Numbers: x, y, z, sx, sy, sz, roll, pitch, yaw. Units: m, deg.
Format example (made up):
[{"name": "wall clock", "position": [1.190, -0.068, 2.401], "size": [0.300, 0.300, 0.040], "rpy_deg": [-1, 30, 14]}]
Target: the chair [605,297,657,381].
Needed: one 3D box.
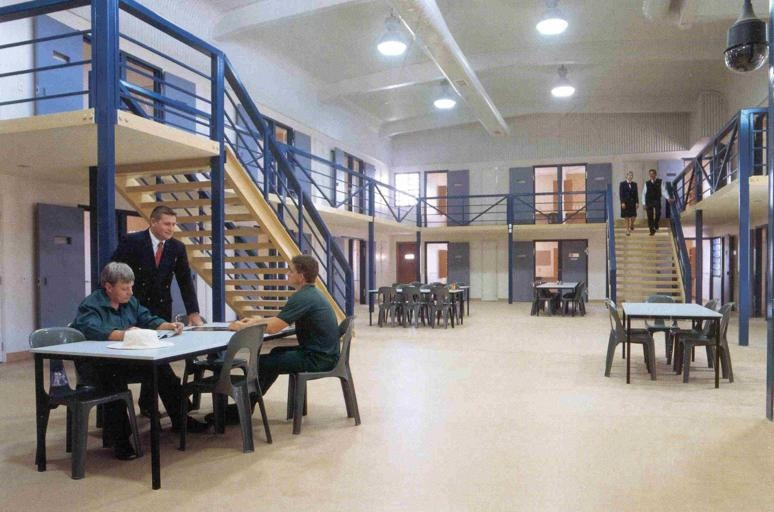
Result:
[{"name": "chair", "position": [3.660, 1.220, 10.449], "size": [0.830, 1.052, 0.729], "rpy_deg": [3, 9, 19]}]

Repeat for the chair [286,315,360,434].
[{"name": "chair", "position": [-0.817, 1.496, 8.853], "size": [0.980, 1.249, 0.868], "rpy_deg": [-5, -5, -18]}]

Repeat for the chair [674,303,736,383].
[{"name": "chair", "position": [4.759, 1.249, 10.395], "size": [0.754, 1.095, 0.840], "rpy_deg": [-4, 1, 17]}]

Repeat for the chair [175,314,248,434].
[{"name": "chair", "position": [-2.064, 1.538, 8.365], "size": [0.972, 1.302, 0.856], "rpy_deg": [6, 13, 16]}]

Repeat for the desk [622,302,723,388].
[{"name": "desk", "position": [4.177, 1.261, 10.192], "size": [1.366, 1.039, 1.067], "rpy_deg": [3, 14, 12]}]

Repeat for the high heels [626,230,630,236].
[{"name": "high heels", "position": [5.857, -0.567, 16.813], "size": [0.120, 0.135, 0.358], "rpy_deg": [-2, -6, 14]}]

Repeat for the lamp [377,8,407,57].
[{"name": "lamp", "position": [0.088, -4.291, 13.189], "size": [0.449, 0.757, 0.613], "rpy_deg": [4, 15, 17]}]

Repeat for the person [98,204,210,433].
[{"name": "person", "position": [-2.922, 0.681, 8.955], "size": [1.128, 2.704, 0.910], "rpy_deg": [2, 21, 4]}]

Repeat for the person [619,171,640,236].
[{"name": "person", "position": [5.882, -1.316, 16.836], "size": [0.405, 1.536, 1.053], "rpy_deg": [4, 15, 18]}]

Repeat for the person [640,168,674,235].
[{"name": "person", "position": [6.466, -1.311, 16.584], "size": [0.584, 1.634, 1.595], "rpy_deg": [5, 15, 20]}]

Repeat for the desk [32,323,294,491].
[{"name": "desk", "position": [-2.879, 1.692, 7.779], "size": [2.242, 1.447, 1.173], "rpy_deg": [-2, 14, -8]}]

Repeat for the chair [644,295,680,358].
[{"name": "chair", "position": [4.432, 1.227, 11.231], "size": [0.557, 0.977, 0.722], "rpy_deg": [4, 9, 21]}]
